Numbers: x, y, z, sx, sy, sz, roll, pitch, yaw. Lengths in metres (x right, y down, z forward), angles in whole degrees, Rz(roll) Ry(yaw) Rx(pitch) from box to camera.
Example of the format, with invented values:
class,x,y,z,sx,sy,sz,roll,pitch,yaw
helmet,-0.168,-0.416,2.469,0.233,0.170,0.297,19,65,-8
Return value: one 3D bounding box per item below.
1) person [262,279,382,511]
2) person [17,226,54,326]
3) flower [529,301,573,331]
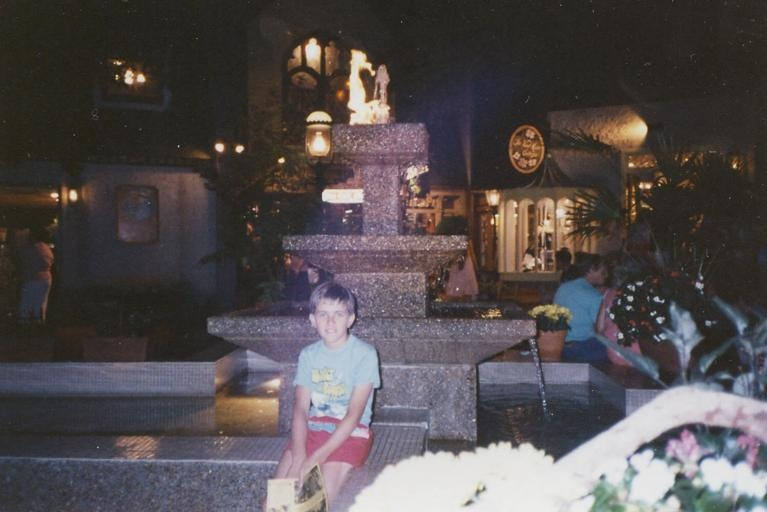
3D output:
class,x,y,z,sx,sy,sz,roll,pitch,yaw
person,-0.510,1.279,6.727,0.909,2.015,0.736,2,1,-1
person,-7.088,0.398,14.305,0.533,1.879,0.772,2,2,-31
flower,2.428,0.884,10.073,0.523,0.466,0.544,0,-2,-12
